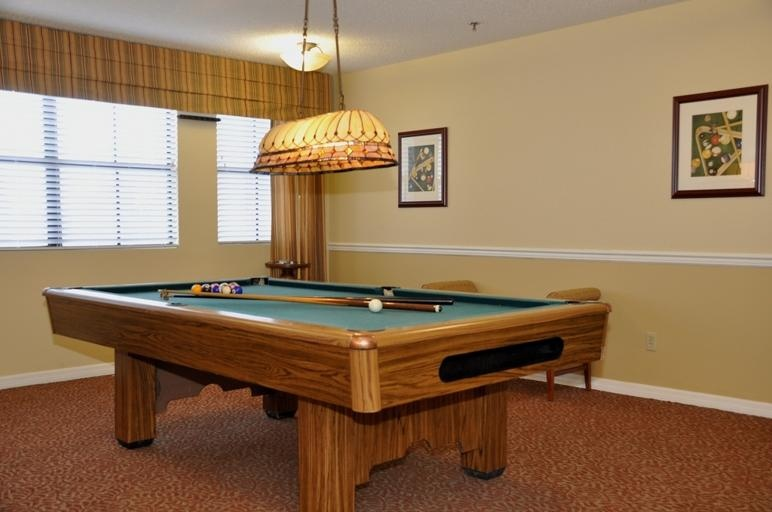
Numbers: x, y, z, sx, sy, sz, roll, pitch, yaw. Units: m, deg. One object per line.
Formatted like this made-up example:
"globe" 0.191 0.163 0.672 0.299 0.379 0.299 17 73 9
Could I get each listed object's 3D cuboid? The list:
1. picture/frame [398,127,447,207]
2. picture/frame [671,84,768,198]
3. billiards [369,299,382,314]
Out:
"picture/frame" 0.416 -0.972 6.249 0.687 0.861 0.112 6 12 37
"picture/frame" 2.744 -0.929 4.635 0.701 0.887 0.238 3 10 22
"billiards" -0.064 0.286 3.193 0.092 0.070 0.078 1 24 -14
